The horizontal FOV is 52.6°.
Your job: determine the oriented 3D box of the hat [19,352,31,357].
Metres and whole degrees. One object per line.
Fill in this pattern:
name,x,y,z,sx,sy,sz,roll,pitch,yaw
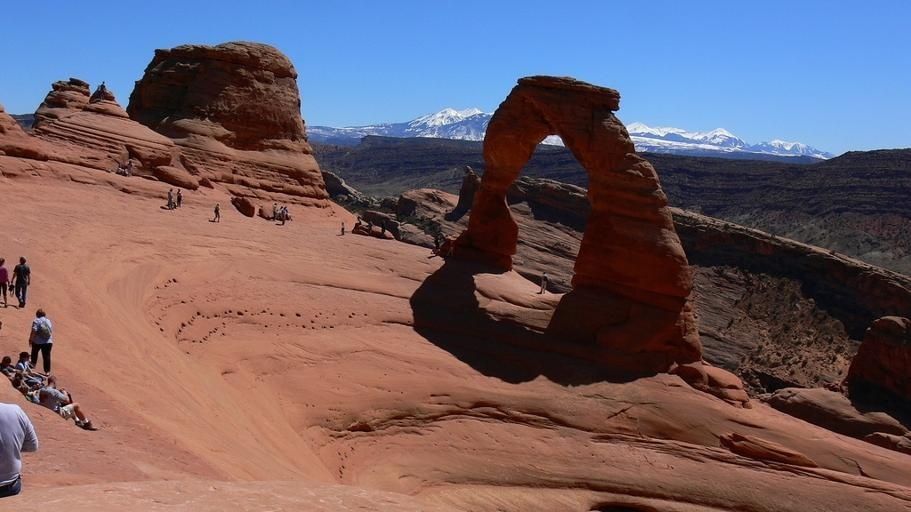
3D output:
hat,-15.627,3.568,33.382,0.310,0.107,0.244,5,4,-5

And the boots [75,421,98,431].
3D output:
boots,-13.101,5.998,32.675,0.789,0.353,0.258,5,4,-13
